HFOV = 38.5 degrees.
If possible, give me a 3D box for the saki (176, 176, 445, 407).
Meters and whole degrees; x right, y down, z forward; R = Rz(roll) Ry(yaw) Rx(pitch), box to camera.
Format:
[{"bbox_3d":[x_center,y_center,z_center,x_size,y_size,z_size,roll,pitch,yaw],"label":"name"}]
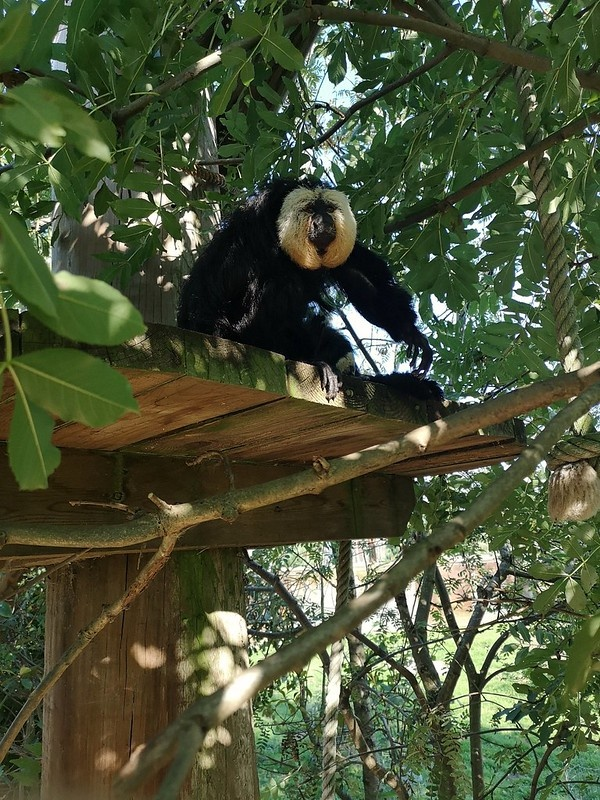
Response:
[{"bbox_3d":[0.014,-0.255,1.932,0.628,0.452,0.368,15,-34,-33],"label":"saki"}]
